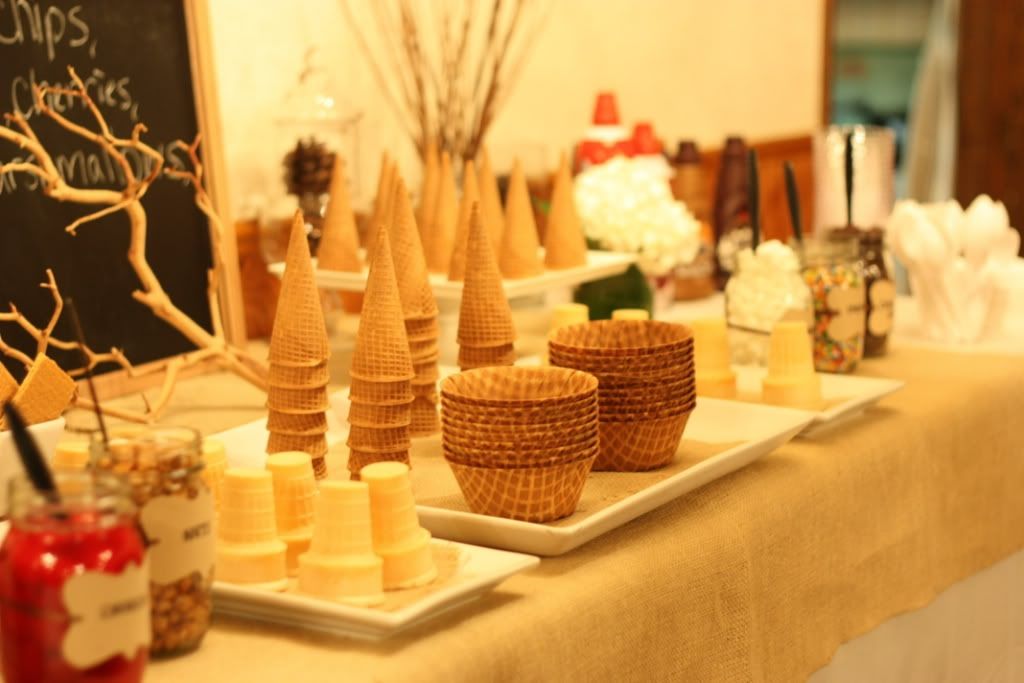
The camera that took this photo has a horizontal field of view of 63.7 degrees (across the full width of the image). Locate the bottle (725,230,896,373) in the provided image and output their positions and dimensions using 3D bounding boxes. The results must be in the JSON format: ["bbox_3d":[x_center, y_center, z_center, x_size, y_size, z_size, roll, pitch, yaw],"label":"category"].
[{"bbox_3d":[0.464,-0.047,1.273,0.208,0.198,0.224,-2,6,23],"label":"bottle"}]

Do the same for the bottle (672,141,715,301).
[{"bbox_3d":[0.394,-0.266,1.795,0.086,0.329,0.320,-1,12,14],"label":"bottle"}]
